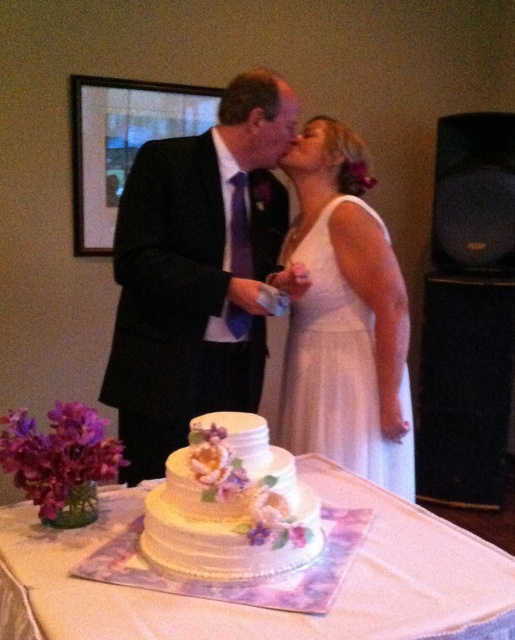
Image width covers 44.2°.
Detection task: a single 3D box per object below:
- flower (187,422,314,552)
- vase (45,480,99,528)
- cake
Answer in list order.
[{"bbox_3d":[-0.020,0.286,1.067,0.232,0.076,0.160,23,41,-8],"label":"flower"},{"bbox_3d":[-0.376,0.360,1.296,0.095,0.090,0.091,-4,1,-29],"label":"vase"},{"bbox_3d":[-0.047,0.291,1.169,0.275,0.188,0.271,0,6,-1],"label":"cake"}]
